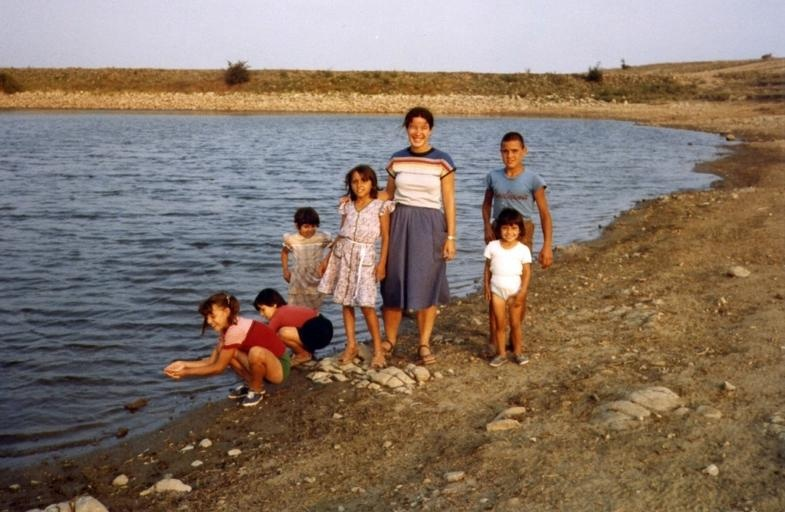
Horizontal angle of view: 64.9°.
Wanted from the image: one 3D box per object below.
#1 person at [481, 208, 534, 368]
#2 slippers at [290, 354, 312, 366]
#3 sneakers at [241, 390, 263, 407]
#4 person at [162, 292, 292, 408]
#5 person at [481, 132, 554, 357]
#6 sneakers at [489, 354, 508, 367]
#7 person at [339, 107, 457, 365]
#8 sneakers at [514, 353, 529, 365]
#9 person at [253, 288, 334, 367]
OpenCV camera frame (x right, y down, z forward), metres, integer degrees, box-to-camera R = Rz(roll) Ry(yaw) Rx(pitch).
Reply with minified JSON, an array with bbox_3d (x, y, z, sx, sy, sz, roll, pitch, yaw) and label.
[{"bbox_3d":[1.288,0.360,6.940,0.496,1.750,0.511,0,23,8],"label":"person"},{"bbox_3d":[-1.114,1.279,7.588,0.316,0.125,0.091,-9,42,4],"label":"slippers"},{"bbox_3d":[-1.530,1.575,6.842,0.254,0.107,0.132,-2,19,-2],"label":"sneakers"},{"bbox_3d":[-1.848,1.036,6.941,1.397,1.141,0.934,-3,3,-27],"label":"person"},{"bbox_3d":[1.448,-0.192,7.229,0.908,2.499,0.763,2,4,15],"label":"person"},{"bbox_3d":[1.221,1.198,7.133,0.219,0.087,0.097,-7,11,-33],"label":"sneakers"},{"bbox_3d":[0.270,-0.149,7.045,0.916,2.983,0.973,-2,23,4],"label":"person"},{"bbox_3d":[1.480,1.180,7.095,0.091,0.068,0.160,-13,2,-25],"label":"sneakers"},{"bbox_3d":[-1.295,0.831,7.755,1.145,0.869,0.723,-3,6,27],"label":"person"}]
